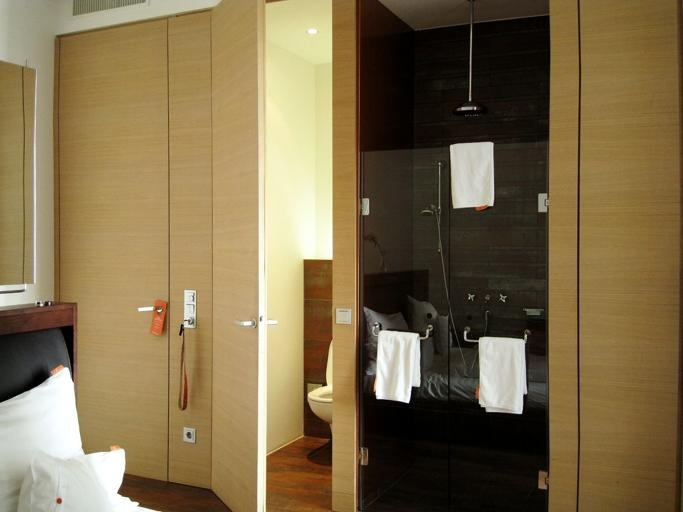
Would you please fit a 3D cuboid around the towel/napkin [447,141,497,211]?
[{"bbox_3d":[0.840,-0.492,3.498,0.264,0.398,0.113,2,1,20],"label":"towel/napkin"}]

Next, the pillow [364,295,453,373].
[{"bbox_3d":[0.417,0.443,3.583,0.439,0.569,0.505,1,-1,8],"label":"pillow"}]

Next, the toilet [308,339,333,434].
[{"bbox_3d":[-0.177,1.117,4.610,0.190,0.542,0.487,0,0,-4],"label":"toilet"}]
